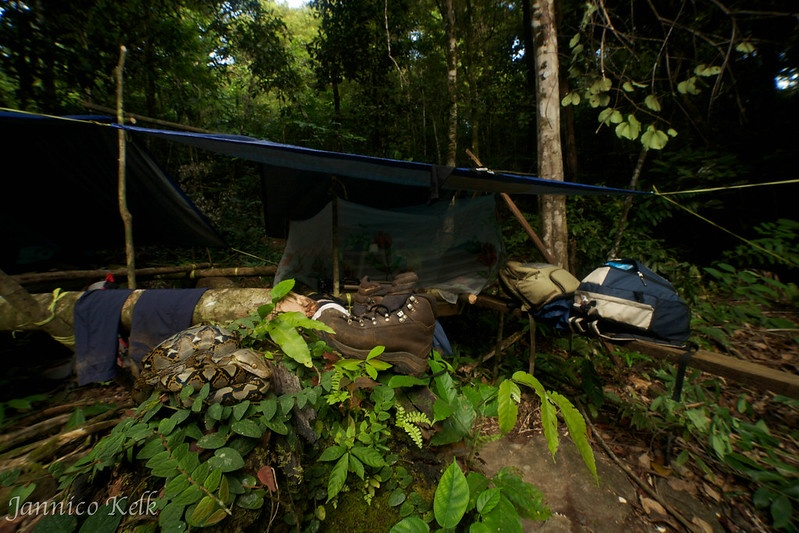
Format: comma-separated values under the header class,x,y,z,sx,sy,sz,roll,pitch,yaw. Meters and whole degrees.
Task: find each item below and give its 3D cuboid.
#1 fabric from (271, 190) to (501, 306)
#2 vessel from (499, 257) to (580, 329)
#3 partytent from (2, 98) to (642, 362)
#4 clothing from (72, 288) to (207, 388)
class,x,y,z,sx,sy,sz,roll,pitch,yaw
fabric,-0.067,-0.340,9.019,2.913,0.934,2.172,-3,33,4
vessel,2.261,0.162,8.299,0.930,0.481,1.360,-5,25,-37
partytent,-1.033,-0.676,7.930,7.287,2.020,5.166,-16,11,-26
clothing,-3.869,1.014,7.546,2.048,1.346,0.275,-2,-7,7
